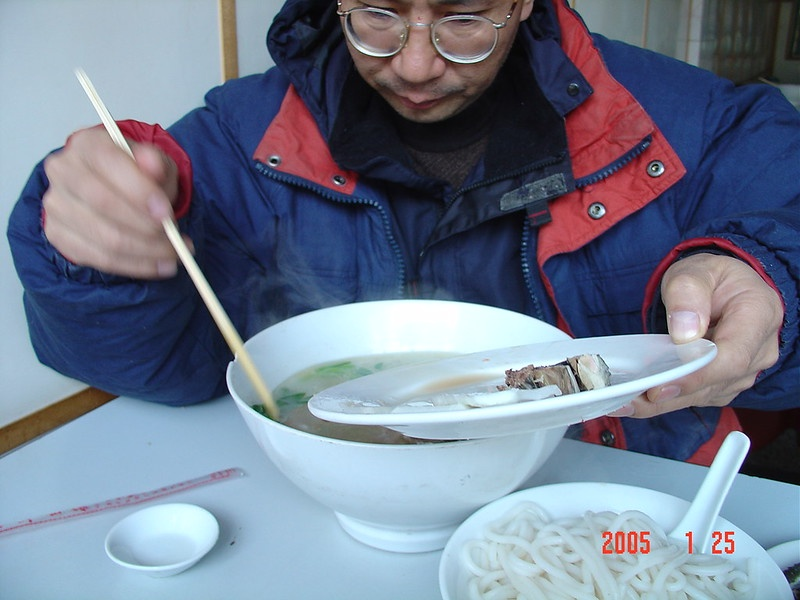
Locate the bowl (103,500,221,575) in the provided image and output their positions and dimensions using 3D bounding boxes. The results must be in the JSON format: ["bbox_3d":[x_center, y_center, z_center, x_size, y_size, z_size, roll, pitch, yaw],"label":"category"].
[{"bbox_3d":[-0.484,0.486,1.328,0.221,0.060,0.154,-4,33,10],"label":"bowl"}]
